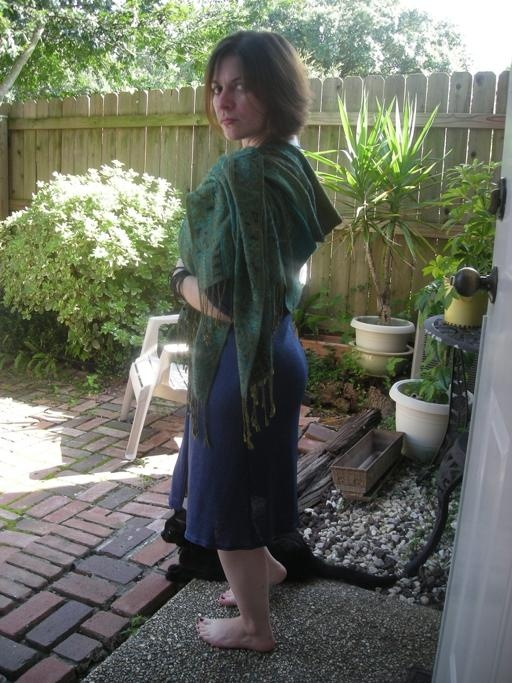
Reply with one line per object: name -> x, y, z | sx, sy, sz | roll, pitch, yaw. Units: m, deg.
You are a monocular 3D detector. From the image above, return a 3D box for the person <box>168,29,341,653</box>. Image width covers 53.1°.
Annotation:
person -> -0.005, 0.064, 1.275 | 0.400, 1.575, 0.359 | -3, 11, -9

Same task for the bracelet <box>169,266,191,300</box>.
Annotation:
bracelet -> -0.173, -0.142, 1.288 | 0.057, 0.069, 0.075 | -1, 18, 0
